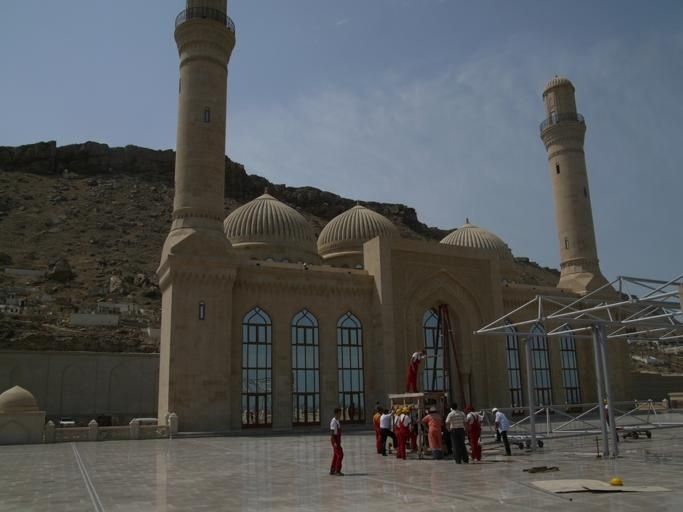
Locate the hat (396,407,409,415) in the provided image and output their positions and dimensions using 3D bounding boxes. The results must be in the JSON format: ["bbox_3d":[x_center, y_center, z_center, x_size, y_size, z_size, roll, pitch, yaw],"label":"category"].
[{"bbox_3d":[1.947,4.943,20.148,0.351,0.164,0.383,1,-10,-6],"label":"hat"}]
